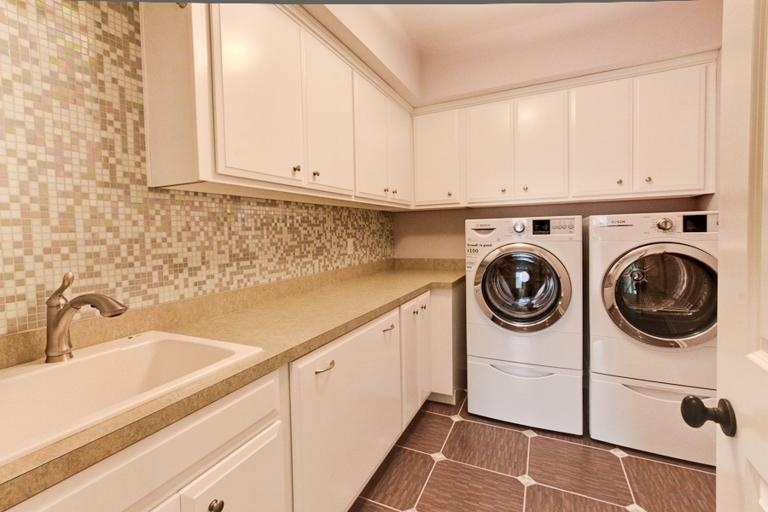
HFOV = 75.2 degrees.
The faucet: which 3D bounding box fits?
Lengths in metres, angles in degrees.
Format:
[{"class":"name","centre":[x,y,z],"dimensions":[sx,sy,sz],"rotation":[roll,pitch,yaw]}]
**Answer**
[{"class":"faucet","centre":[-1.296,0.263,2.115],"dimensions":[0.405,0.374,0.209],"rotation":[6,9,38]}]

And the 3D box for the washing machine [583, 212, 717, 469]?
[{"class":"washing machine","centre":[1.931,0.474,3.234],"dimensions":[0.872,1.493,0.925],"rotation":[-3,4,-29]}]
